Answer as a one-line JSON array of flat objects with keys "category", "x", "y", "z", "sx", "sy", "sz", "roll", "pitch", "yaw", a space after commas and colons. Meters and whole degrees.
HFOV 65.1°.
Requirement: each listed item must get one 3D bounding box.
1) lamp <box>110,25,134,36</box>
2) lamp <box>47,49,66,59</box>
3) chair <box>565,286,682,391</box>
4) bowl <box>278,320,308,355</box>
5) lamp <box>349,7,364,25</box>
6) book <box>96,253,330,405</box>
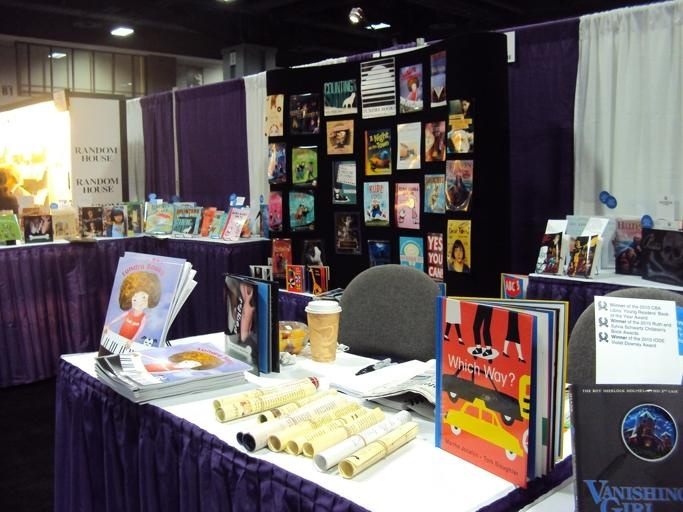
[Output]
[{"category": "lamp", "x": -3.626, "y": -3.708, "z": 8.842, "sx": 0.196, "sy": 0.056, "sz": 0.222, "roll": 0, "pitch": 6, "yaw": 4}, {"category": "lamp", "x": -4.698, "y": -3.308, "z": 8.746, "sx": 0.184, "sy": 0.050, "sz": 0.170, "roll": -8, "pitch": 3, "yaw": -43}, {"category": "chair", "x": 0.966, "y": 0.301, "z": 1.927, "sx": 0.371, "sy": 0.309, "sz": 0.399, "roll": 2, "pitch": -3, "yaw": -10}, {"category": "bowl", "x": -0.178, "y": 0.289, "z": 1.940, "sx": 0.106, "sy": 0.074, "sz": 0.110, "roll": 2, "pitch": -3, "yaw": 0}, {"category": "lamp", "x": 0.097, "y": -1.570, "z": 3.487, "sx": 0.084, "sy": 0.116, "sz": 0.144, "roll": 0, "pitch": 7, "yaw": 0}, {"category": "book", "x": -0.612, "y": 0.259, "z": 1.819, "sx": 0.420, "sy": 0.216, "sz": 0.548, "roll": -5, "pitch": 11, "yaw": -38}]
